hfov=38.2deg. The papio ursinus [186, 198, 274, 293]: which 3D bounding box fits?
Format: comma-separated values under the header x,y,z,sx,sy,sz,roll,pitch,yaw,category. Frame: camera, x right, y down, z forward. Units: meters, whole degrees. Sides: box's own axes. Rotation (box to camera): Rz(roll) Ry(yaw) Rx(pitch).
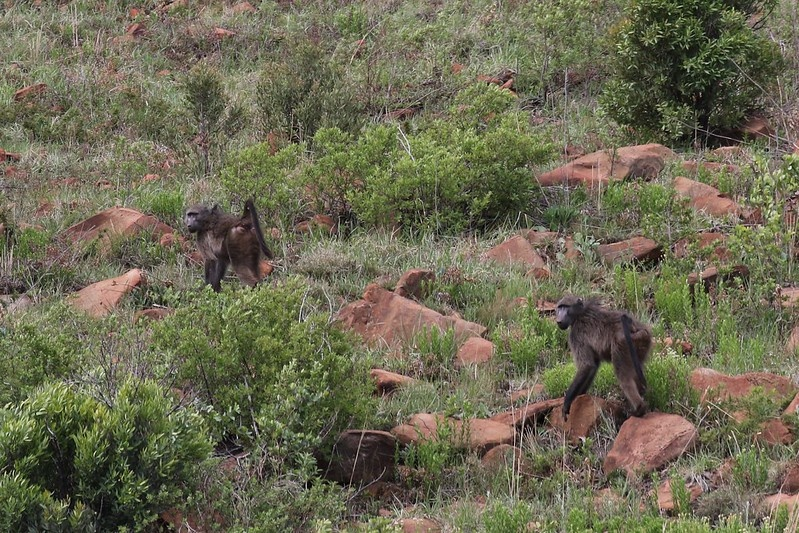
x,y,z,sx,sy,sz,roll,pitch,yaw,category
-2.164,-0.155,14.638,1.415,1.260,0.450,4,12,38,papio ursinus
